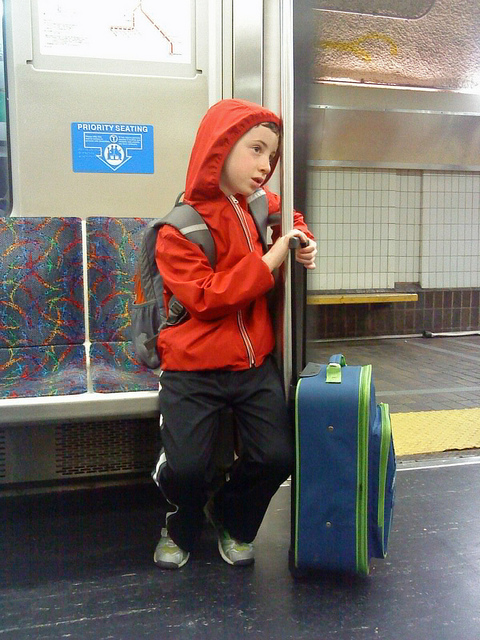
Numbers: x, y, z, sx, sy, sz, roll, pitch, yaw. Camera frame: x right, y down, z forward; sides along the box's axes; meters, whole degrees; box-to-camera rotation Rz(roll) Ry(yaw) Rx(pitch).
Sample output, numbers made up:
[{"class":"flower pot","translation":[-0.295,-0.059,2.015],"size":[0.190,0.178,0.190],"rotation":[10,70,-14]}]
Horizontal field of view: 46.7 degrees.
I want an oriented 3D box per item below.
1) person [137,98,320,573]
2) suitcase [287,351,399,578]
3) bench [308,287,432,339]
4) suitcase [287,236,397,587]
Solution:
[{"class":"person","translation":[-0.030,0.038,1.408],"size":[0.416,1.111,0.508],"rotation":[-2,5,-27]},{"class":"suitcase","translation":[0.224,0.351,1.271],"size":[0.235,0.512,0.204],"rotation":[1,5,5]},{"class":"bench","translation":[1.389,-0.064,5.846],"size":[1.609,0.542,0.545],"rotation":[-2,5,-23]},{"class":"suitcase","translation":[0.227,0.209,1.285],"size":[0.235,0.793,0.253],"rotation":[1,5,6]}]
